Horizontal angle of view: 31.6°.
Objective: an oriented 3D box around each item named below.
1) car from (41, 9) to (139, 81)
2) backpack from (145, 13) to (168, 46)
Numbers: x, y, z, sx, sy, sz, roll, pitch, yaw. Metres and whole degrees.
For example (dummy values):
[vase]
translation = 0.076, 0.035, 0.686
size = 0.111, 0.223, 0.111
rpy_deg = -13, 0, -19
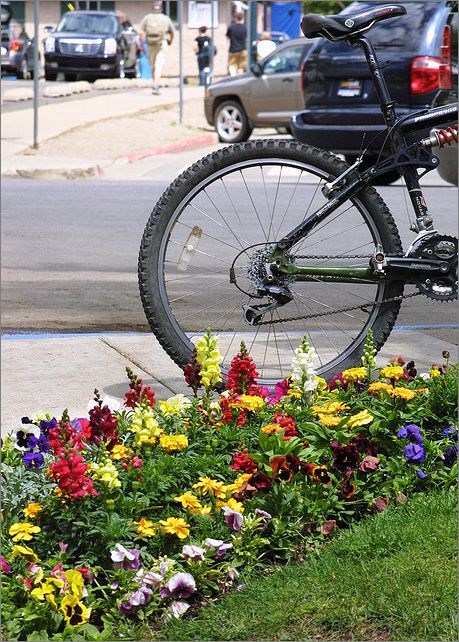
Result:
[car]
translation = -4.885, -9.876, 28.486
size = 2.937, 2.526, 3.315
rpy_deg = 0, 11, -3
[backpack]
translation = -2.153, -8.666, 24.098
size = 0.844, 0.762, 0.368
rpy_deg = 1, -10, -2
